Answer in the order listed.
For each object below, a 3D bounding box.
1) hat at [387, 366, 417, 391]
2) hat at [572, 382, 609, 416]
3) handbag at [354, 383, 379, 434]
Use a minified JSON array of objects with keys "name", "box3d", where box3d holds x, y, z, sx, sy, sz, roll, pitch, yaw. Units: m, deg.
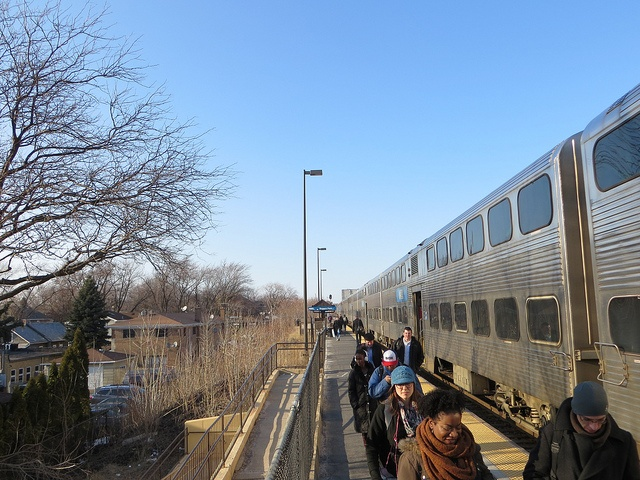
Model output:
[{"name":"hat","box3d":[0.951,1.587,5.222,0.272,0.233,0.427,-2,-16,3]},{"name":"hat","box3d":[2.535,1.445,4.267,0.274,0.325,0.328,-2,-14,17]},{"name":"handbag","box3d":[0.834,2.576,7.024,0.191,0.719,0.498,14,-12,-22]}]
